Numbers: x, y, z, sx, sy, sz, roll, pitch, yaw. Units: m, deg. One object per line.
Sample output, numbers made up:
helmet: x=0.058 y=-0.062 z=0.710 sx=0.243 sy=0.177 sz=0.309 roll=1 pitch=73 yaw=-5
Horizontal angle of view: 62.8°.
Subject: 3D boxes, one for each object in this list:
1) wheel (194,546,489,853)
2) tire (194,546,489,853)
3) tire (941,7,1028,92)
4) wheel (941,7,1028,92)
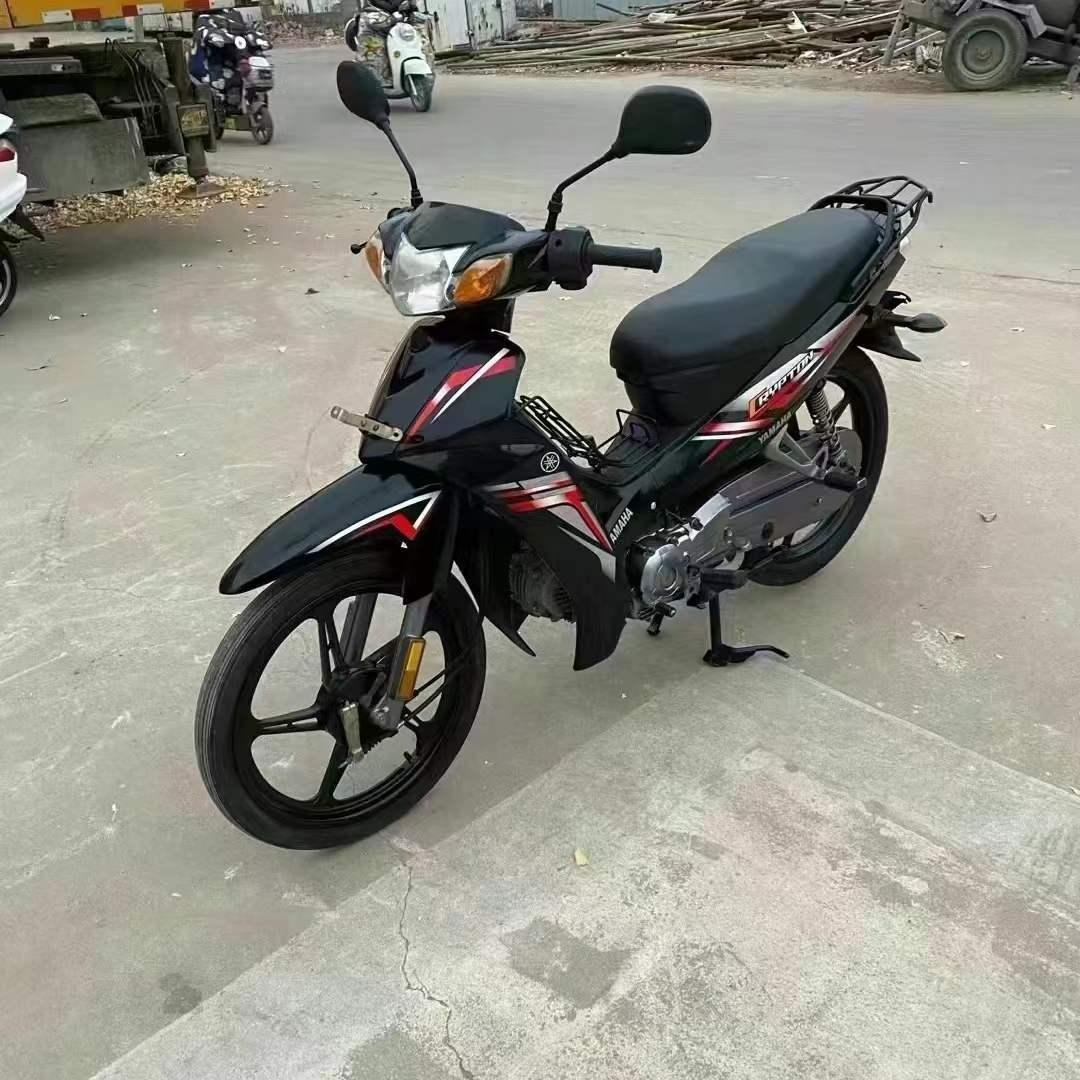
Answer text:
wheel: x=-0.440 y=0.401 z=2.059 sx=0.754 sy=0.622 sz=0.121 roll=-18 pitch=31 yaw=-29
tire: x=-0.440 y=0.401 z=2.059 sx=0.754 sy=0.622 sz=0.121 roll=-18 pitch=31 yaw=-29
tire: x=5.577 y=-6.146 z=11.058 sx=1.134 sy=0.921 sz=0.382 roll=18 pitch=32 yaw=3
wheel: x=5.577 y=-6.146 z=11.058 sx=1.134 sy=0.921 sz=0.382 roll=18 pitch=32 yaw=3
